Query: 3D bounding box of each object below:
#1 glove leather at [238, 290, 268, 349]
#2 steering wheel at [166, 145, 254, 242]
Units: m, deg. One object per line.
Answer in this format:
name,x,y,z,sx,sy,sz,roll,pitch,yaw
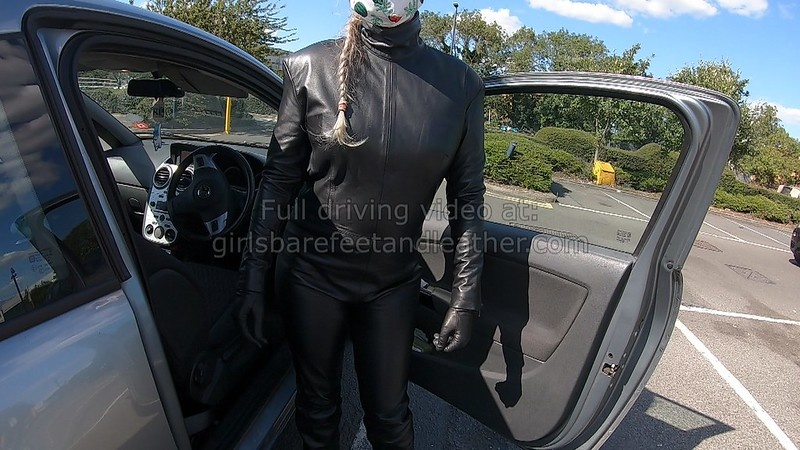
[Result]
glove leather,-0.683,0.443,1.847,0.157,0.244,0.095,-1,-4,5
steering wheel,-1.265,-0.194,2.717,0.633,0.648,0.151,5,-6,10
